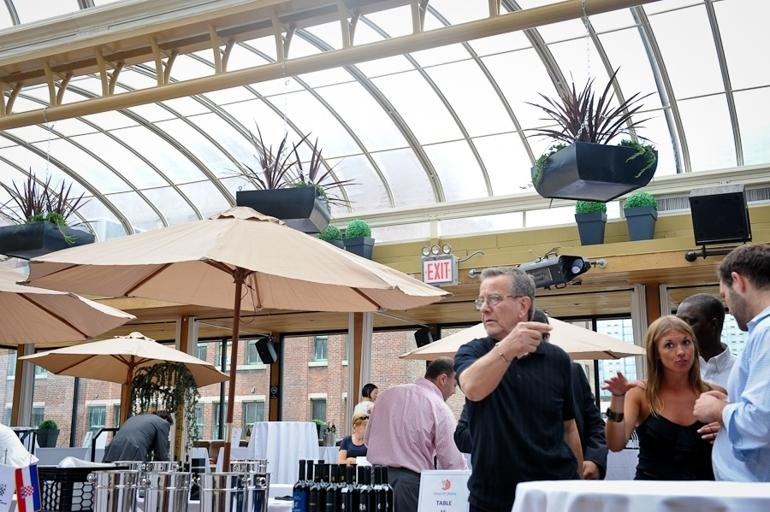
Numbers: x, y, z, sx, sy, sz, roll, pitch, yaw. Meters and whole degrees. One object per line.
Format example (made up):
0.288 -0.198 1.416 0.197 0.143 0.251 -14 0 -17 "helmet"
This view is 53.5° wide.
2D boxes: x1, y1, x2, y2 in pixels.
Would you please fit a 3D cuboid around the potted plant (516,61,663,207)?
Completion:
2.094 -1.203 7.786 1.335 0.923 1.305 -4 -3 7 "potted plant"

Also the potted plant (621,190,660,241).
4.034 -0.614 12.058 0.588 0.762 0.565 8 -11 -40 "potted plant"

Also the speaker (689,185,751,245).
4.688 -0.598 10.842 0.852 0.819 0.906 -3 6 29 "speaker"

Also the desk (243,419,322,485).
-1.123 2.351 9.347 1.018 0.924 0.974 0 -32 -2 "desk"

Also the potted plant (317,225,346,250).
-0.942 -0.370 13.764 0.515 0.508 0.525 -4 -16 -8 "potted plant"

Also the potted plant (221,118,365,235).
-1.122 -0.936 9.701 1.345 1.011 1.024 7 -9 4 "potted plant"

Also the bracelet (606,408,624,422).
1.589 1.112 5.317 0.109 0.074 0.114 12 -5 -17 "bracelet"

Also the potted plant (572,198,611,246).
3.288 -0.571 12.219 0.600 0.739 0.579 -3 -5 2 "potted plant"

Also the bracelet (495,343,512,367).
0.701 0.584 4.563 0.054 0.139 0.112 -33 2 -28 "bracelet"

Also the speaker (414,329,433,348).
0.803 1.715 16.266 0.126 0.462 0.532 -23 -15 41 "speaker"

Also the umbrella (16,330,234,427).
-3.432 1.353 9.734 1.770 0.714 1.653 -7 -31 12 "umbrella"

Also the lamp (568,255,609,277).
2.957 0.106 11.026 0.471 0.216 0.346 -3 -13 34 "lamp"

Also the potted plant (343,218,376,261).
-0.616 -0.337 13.849 0.554 0.629 0.525 -2 8 7 "potted plant"
